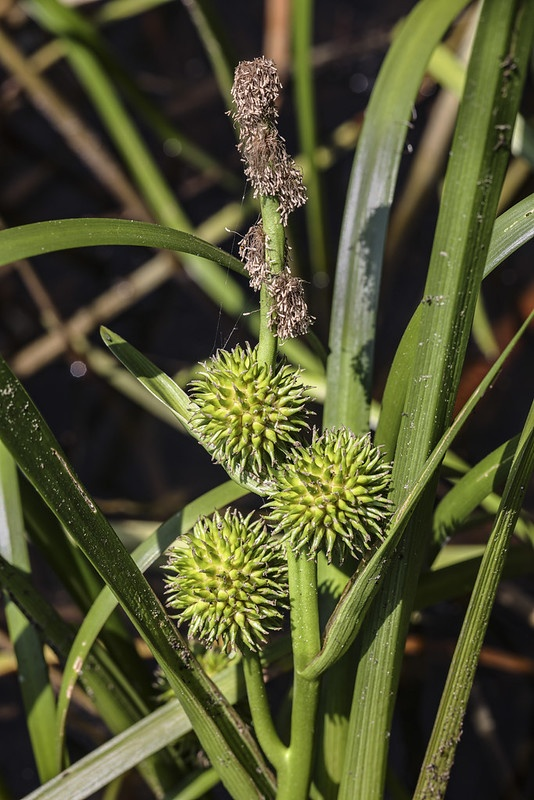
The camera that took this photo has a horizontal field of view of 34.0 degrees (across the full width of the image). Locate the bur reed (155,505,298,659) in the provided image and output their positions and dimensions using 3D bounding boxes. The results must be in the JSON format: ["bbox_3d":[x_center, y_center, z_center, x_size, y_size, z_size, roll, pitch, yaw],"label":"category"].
[{"bbox_3d":[-0.044,0.196,0.923,0.119,0.120,0.132,-1,-11,-36],"label":"bur reed"}]

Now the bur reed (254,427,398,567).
[{"bbox_3d":[0.070,0.086,0.896,0.106,0.079,0.095,4,4,-23],"label":"bur reed"}]

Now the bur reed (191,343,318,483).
[{"bbox_3d":[-0.019,-0.003,0.892,0.119,0.107,0.136,9,-16,-33],"label":"bur reed"}]
